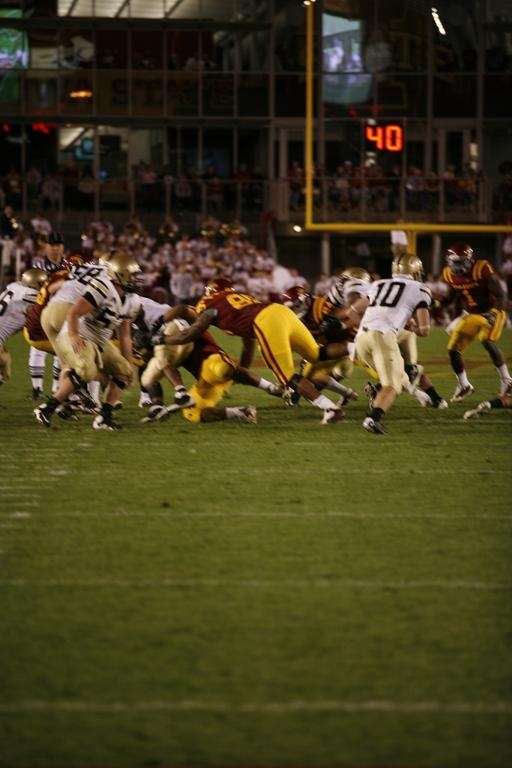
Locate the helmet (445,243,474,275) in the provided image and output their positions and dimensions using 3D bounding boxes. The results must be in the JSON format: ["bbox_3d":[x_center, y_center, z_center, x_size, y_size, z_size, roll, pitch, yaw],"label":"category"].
[{"bbox_3d":[1.830,-1.132,6.843,0.223,0.297,0.300,0,1,14],"label":"helmet"}]

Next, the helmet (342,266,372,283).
[{"bbox_3d":[0.791,-0.872,6.018,0.216,0.151,0.426,0,1,10],"label":"helmet"}]

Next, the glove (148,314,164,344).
[{"bbox_3d":[-0.762,-0.412,5.804,0.083,0.205,0.158,15,19,-9],"label":"glove"}]

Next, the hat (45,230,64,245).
[{"bbox_3d":[-1.792,-1.316,6.812,0.092,0.077,0.151,-10,10,-24],"label":"hat"}]

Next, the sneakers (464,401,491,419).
[{"bbox_3d":[1.767,0.215,6.152,0.130,0.100,0.310,-43,-7,-16],"label":"sneakers"}]

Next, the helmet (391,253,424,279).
[{"bbox_3d":[1.188,-0.932,6.008,0.221,0.246,0.322,0,1,9],"label":"helmet"}]

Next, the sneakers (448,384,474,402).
[{"bbox_3d":[1.901,0.110,7.156,0.136,0.105,0.274,30,-22,-5],"label":"sneakers"}]

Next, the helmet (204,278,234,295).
[{"bbox_3d":[-0.297,-0.773,6.075,0.210,0.148,0.264,-1,1,-3],"label":"helmet"}]

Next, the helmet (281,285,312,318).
[{"bbox_3d":[0.341,-0.673,6.145,0.208,0.277,0.468,0,1,3],"label":"helmet"}]

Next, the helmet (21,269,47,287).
[{"bbox_3d":[-1.986,-0.959,6.825,0.208,0.212,0.358,-1,1,-19],"label":"helmet"}]
